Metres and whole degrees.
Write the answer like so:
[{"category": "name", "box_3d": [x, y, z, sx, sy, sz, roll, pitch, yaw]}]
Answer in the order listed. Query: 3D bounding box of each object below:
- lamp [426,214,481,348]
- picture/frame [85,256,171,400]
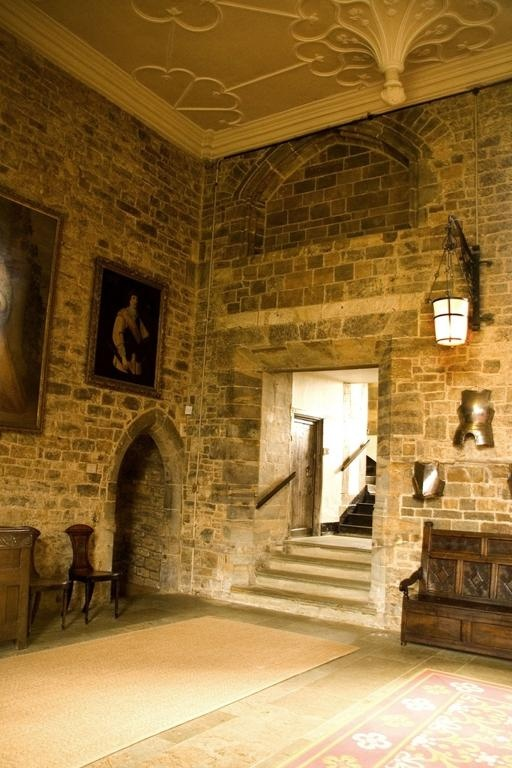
[{"category": "lamp", "box_3d": [1.842, -1.043, 5.185, 0.516, 1.448, 0.745, -5, -16, 28]}, {"category": "picture/frame", "box_3d": [-1.549, -0.657, 6.397, 0.128, 1.783, 1.598, -3, -10, 27]}]
